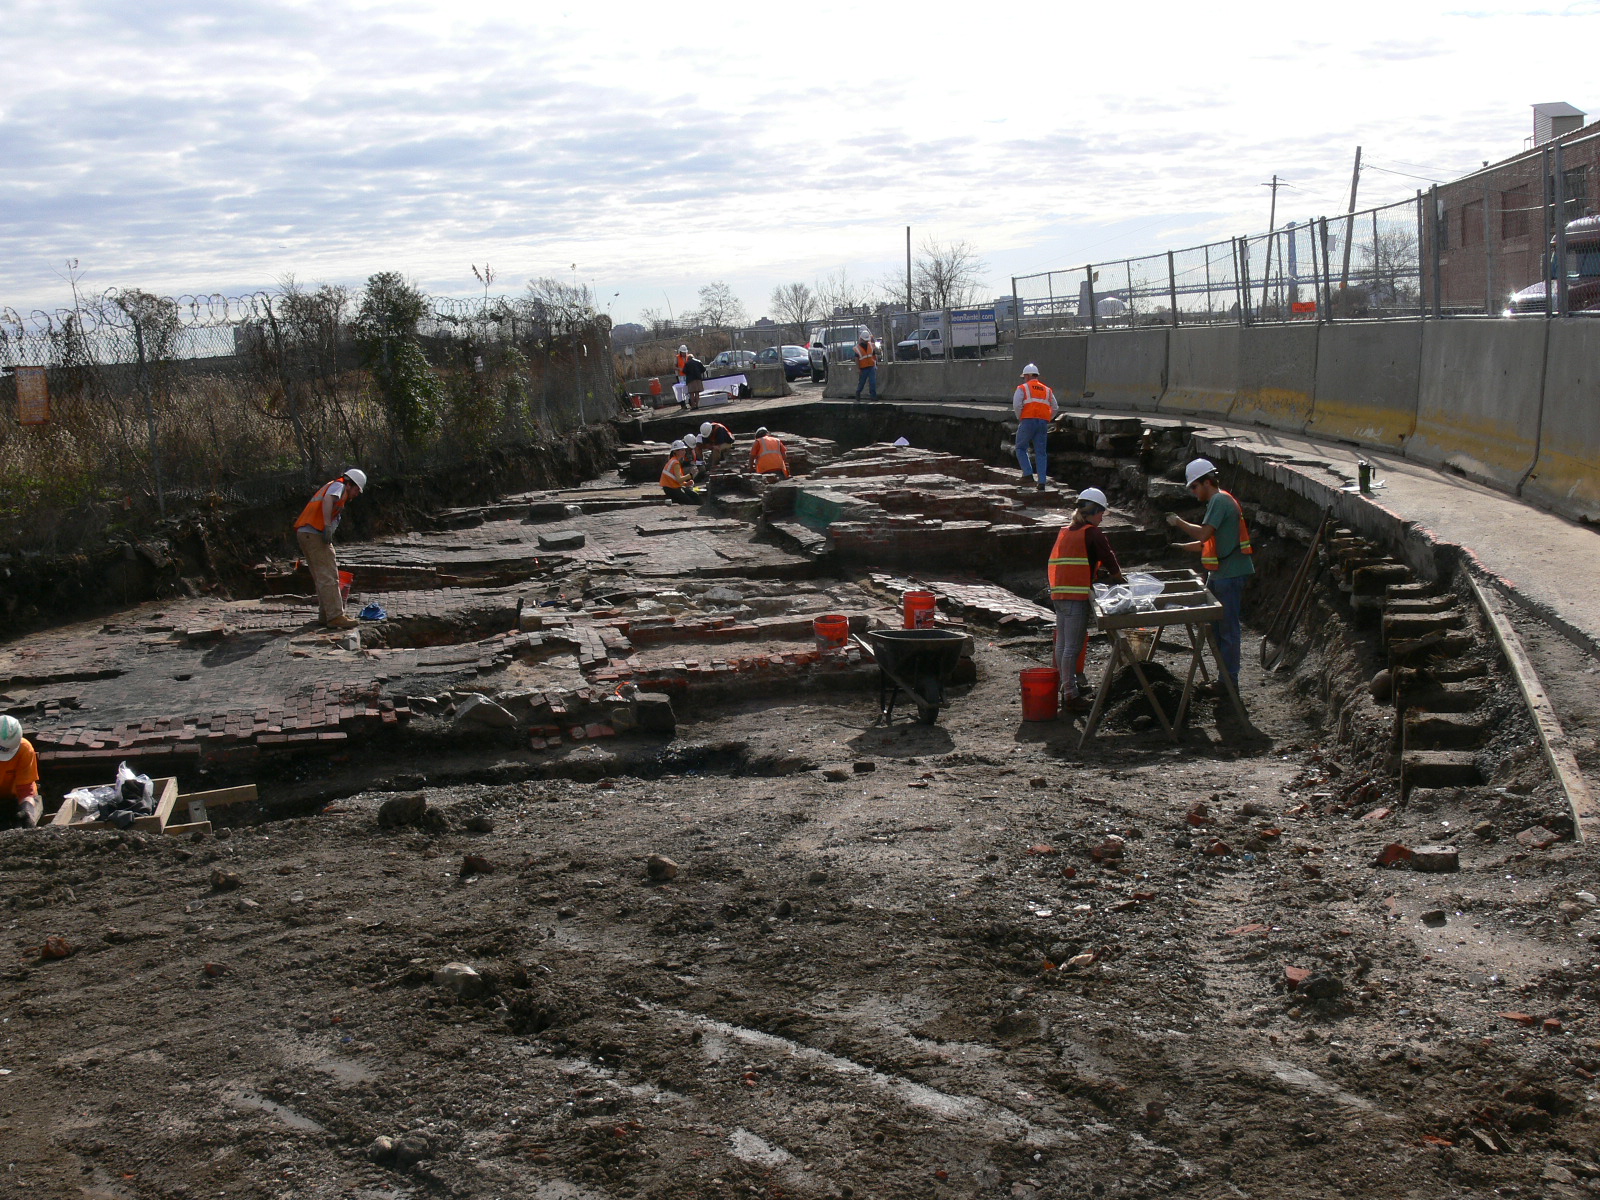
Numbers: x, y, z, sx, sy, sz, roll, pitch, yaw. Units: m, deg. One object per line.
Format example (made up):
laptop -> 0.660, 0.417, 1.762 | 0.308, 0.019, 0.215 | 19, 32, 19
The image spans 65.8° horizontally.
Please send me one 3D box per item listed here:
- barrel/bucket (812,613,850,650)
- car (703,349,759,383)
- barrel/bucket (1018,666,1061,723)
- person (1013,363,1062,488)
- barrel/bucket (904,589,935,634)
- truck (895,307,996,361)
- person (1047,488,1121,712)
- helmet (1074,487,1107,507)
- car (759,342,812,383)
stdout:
barrel/bucket -> 0.327, 0.310, 12.485 | 0.436, 0.255, 0.336 | 1, 4, 3
car -> -2.234, -7.592, 40.019 | 1.364, 0.873, 2.021 | -15, 24, -41
barrel/bucket -> 2.156, 0.851, 11.281 | 0.498, 0.435, 0.487 | -2, 7, 0
person -> 3.573, -2.632, 18.635 | 0.597, 1.820, 1.232 | -4, 8, 9
barrel/bucket -> 1.133, 0.106, 11.746 | 0.365, 0.355, 0.342 | 1, -4, 0
truck -> 4.449, -7.832, 36.111 | 3.478, 1.403, 1.750 | -2, 12, -10
person -> 2.595, -0.002, 11.192 | 0.631, 1.995, 1.234 | -4, 8, 11
helmet -> 2.660, -0.908, 11.029 | 0.323, 0.112, 0.242 | -3, 9, -40
car -> -0.271, -8.013, 42.545 | 1.453, 0.917, 2.478 | -5, 20, -14
